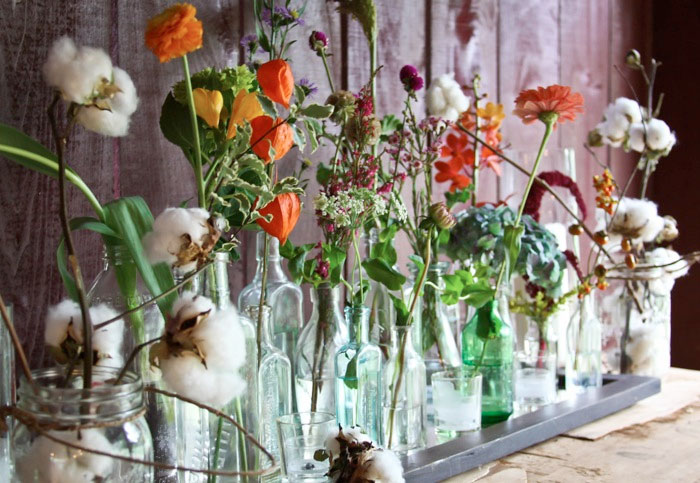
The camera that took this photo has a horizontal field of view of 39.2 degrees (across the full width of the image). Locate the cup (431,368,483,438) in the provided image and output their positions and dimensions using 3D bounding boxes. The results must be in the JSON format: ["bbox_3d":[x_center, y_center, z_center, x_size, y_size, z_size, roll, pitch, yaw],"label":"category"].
[{"bbox_3d":[0.222,0.336,2.114,0.109,0.155,0.116,-2,1,0],"label":"cup"}]

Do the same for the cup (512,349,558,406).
[{"bbox_3d":[0.414,0.340,2.255,0.069,0.101,0.084,-4,-5,-9],"label":"cup"}]

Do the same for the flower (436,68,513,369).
[{"bbox_3d":[0.280,-0.004,2.283,0.216,0.786,0.194,12,-18,-36],"label":"flower"}]

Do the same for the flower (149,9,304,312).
[{"bbox_3d":[-0.197,-0.191,1.837,0.318,0.663,0.383,-2,9,-11],"label":"flower"}]
